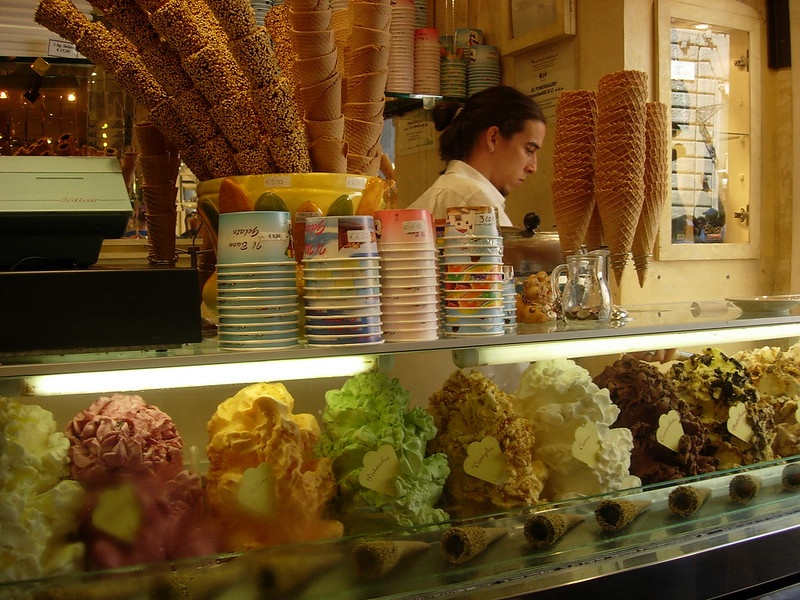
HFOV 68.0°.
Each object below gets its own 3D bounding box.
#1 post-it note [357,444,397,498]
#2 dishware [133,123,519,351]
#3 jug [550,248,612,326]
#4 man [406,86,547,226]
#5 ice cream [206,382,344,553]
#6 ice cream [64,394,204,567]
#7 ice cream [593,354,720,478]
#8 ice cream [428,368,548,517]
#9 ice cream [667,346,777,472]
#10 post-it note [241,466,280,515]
[{"bbox_3d":[-0.047,0.327,1.121,0.071,0.070,0.047,39,-10,4],"label":"post-it note"},{"bbox_3d":[-0.213,-0.153,1.382,0.683,0.413,0.413,-4,4,-19],"label":"dishware"},{"bbox_3d":[0.437,-0.025,1.420,0.153,0.162,0.128,-1,3,19],"label":"jug"},{"bbox_3d":[0.327,-0.656,3.017,0.692,0.748,0.783,7,4,-12],"label":"man"},{"bbox_3d":[-0.237,0.314,1.131,0.261,0.297,0.234,-13,-11,41],"label":"ice cream"},{"bbox_3d":[-0.446,0.304,1.054,0.211,0.267,0.159,0,-7,-3],"label":"ice cream"},{"bbox_3d":[0.590,0.279,1.480,0.236,0.292,0.119,-33,0,-10],"label":"ice cream"},{"bbox_3d":[0.186,0.293,1.278,0.232,0.272,0.114,1,-1,-2],"label":"ice cream"},{"bbox_3d":[0.830,0.304,1.622,0.244,0.290,0.135,-8,-20,-8],"label":"ice cream"},{"bbox_3d":[-0.247,0.333,1.031,0.063,0.059,0.013,-1,-1,-15],"label":"post-it note"}]
